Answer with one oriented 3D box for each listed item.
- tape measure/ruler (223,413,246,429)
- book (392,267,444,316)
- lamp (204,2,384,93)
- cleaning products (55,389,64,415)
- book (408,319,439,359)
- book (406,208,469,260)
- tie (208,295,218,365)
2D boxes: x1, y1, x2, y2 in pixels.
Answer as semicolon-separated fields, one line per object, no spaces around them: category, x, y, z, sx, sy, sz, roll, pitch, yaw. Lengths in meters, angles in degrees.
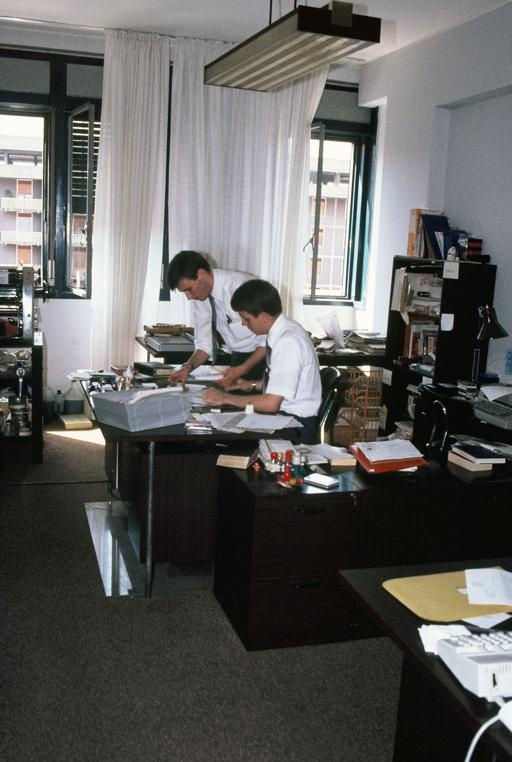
tape measure/ruler;-0.090;0.175;2.575;0.051;0.058;0.246;-2;1;6
book;1.249;-0.680;4.590;0.382;0.369;0.090;13;6;42
lamp;0.140;-1.373;2.519;0.390;0.179;0.932;-1;8;-23
cleaning products;-1.817;0.206;5.524;0.086;0.223;0.059;-1;7;-20
book;1.318;-0.318;4.641;0.086;0.297;0.207;7;-2;-35
book;1.376;-1.112;4.519;0.304;0.429;0.655;0;8;-16
tie;-0.251;-0.320;3.681;0.041;0.353;0.016;-16;16;-38
